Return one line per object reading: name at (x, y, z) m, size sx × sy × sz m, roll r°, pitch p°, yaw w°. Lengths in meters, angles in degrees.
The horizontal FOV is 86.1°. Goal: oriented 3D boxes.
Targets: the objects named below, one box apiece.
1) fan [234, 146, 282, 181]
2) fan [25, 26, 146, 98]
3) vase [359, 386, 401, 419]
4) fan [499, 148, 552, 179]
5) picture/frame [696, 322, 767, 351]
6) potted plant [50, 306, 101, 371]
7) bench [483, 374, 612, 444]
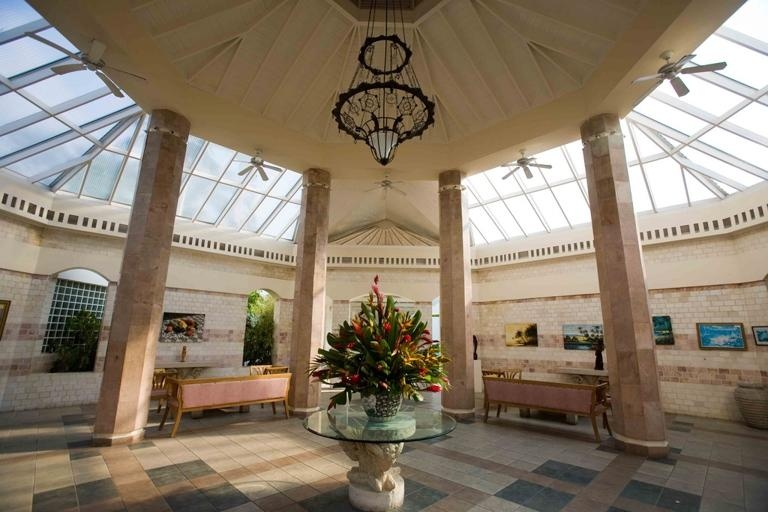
fan at (-4.134, -2.834, 13.148) m, size 0.911 × 0.974 × 2.828 m, roll 1°, pitch 1°, yaw -21°
fan at (-7.051, -4.544, 9.825) m, size 1.856 × 1.152 × 2.379 m, roll 0°, pitch 1°, yaw -29°
vase at (-0.086, 2.756, 7.785) m, size 0.659 × 0.436 × 0.639 m, roll 9°, pitch -13°, yaw -30°
fan at (4.357, -2.738, 12.523) m, size 1.302 × 0.486 × 1.259 m, roll 0°, pitch -1°, yaw -33°
picture/frame at (10.837, 2.437, 12.665) m, size 1.128 × 0.604 × 0.047 m, roll -5°, pitch -21°, yaw 42°
potted plant at (-10.382, 2.831, 13.813) m, size 1.306 × 1.931 × 0.701 m, roll 0°, pitch 1°, yaw -41°
bench at (4.397, 3.956, 11.336) m, size 2.985 × 1.483 × 0.694 m, roll 1°, pitch 1°, yaw 30°
